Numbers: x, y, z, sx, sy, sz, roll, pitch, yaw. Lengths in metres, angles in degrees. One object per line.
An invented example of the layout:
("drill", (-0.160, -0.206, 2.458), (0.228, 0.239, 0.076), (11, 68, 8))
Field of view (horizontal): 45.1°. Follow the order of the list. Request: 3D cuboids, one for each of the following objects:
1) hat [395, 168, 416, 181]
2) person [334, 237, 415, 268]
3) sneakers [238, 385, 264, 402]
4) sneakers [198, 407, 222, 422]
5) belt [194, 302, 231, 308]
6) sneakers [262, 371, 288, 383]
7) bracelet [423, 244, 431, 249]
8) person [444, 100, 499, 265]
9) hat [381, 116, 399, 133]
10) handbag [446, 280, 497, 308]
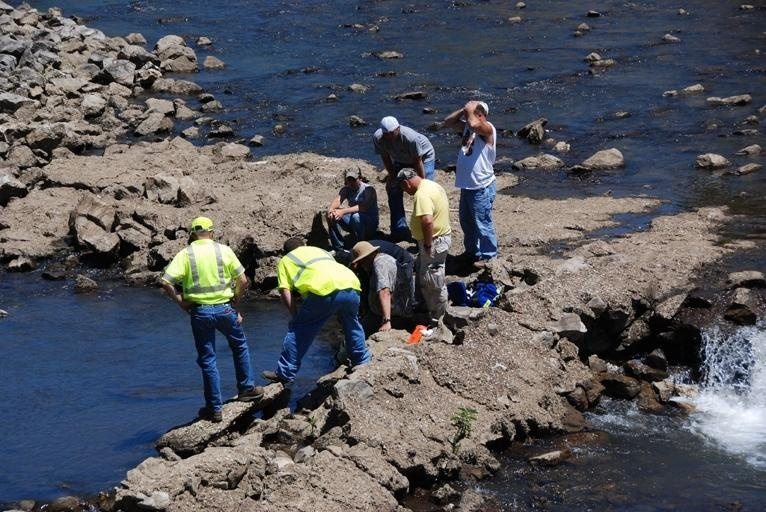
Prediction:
("hat", (0.361, -1.373, 15.450), (0.300, 0.135, 0.187), (1, 28, 26))
("person", (-0.126, -0.050, 15.731), (0.936, 0.295, 0.645), (-16, -1, 5))
("sneakers", (-2.057, 2.162, 14.433), (0.358, 0.129, 0.198), (-12, 20, -15))
("sneakers", (-2.651, 2.457, 14.188), (0.400, 0.161, 0.170), (15, 22, 34))
("belt", (-2.605, 0.758, 14.060), (0.538, 0.075, 0.100), (-5, 19, -6))
("sneakers", (-1.726, 1.937, 14.652), (0.412, 0.161, 0.165), (23, 7, -12))
("bracelet", (0.739, -0.159, 15.188), (0.086, 0.076, 0.029), (-2, 52, 8))
("person", (1.704, -1.253, 16.399), (0.684, 2.918, 0.918), (-12, 22, -18))
("hat", (0.124, -2.345, 16.582), (0.317, 0.221, 0.400), (-13, 27, 9))
("handbag", (1.534, 0.652, 15.743), (0.704, 0.165, 0.451), (-9, 44, 14))
